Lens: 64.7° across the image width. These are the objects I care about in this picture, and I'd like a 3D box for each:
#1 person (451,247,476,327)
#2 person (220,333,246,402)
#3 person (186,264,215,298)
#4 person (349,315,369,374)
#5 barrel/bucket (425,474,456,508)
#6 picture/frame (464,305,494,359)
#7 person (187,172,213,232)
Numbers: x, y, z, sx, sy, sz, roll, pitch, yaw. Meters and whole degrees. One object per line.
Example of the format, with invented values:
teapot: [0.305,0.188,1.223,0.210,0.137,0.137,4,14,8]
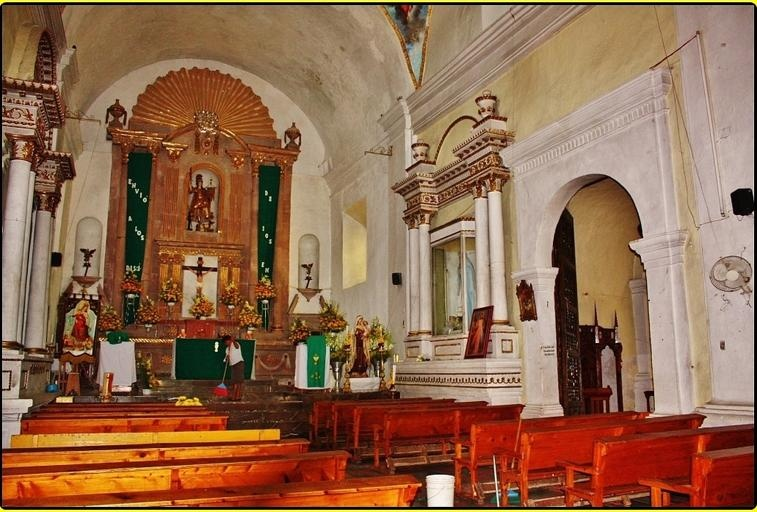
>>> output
person: [1.909,0.728,13.133,0.397,1.873,0.779,-1,-12,5]
person: [-3.197,2.476,13.176,0.469,1.361,2.239,3,-12,-13]
person: [-5.578,0.720,18.708,0.989,0.920,0.285,4,-12,-18]
person: [-0.449,2.139,14.053,0.447,1.383,0.586,0,-12,1]
barrel/bucket: [0.533,2.055,5.268,0.291,0.278,0.283,1,-14,0]
picture/frame: [2.033,1.555,12.075,0.339,1.065,0.744,6,-13,-25]
person: [-5.747,-1.677,19.454,0.764,1.866,0.484,4,-12,-16]
